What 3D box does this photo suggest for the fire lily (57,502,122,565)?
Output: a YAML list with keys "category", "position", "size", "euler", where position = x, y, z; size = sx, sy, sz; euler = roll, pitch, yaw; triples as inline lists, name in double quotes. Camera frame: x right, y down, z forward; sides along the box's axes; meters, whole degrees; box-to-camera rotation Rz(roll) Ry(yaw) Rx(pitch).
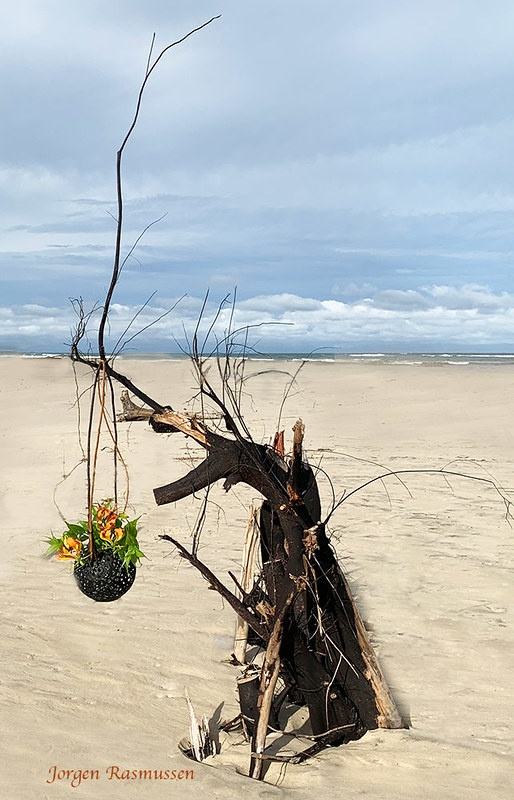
- category: "fire lily"
  position: [-0.999, 0.783, 4.124]
  size: [0.353, 0.336, 0.334]
  euler: [3, 7, 28]
